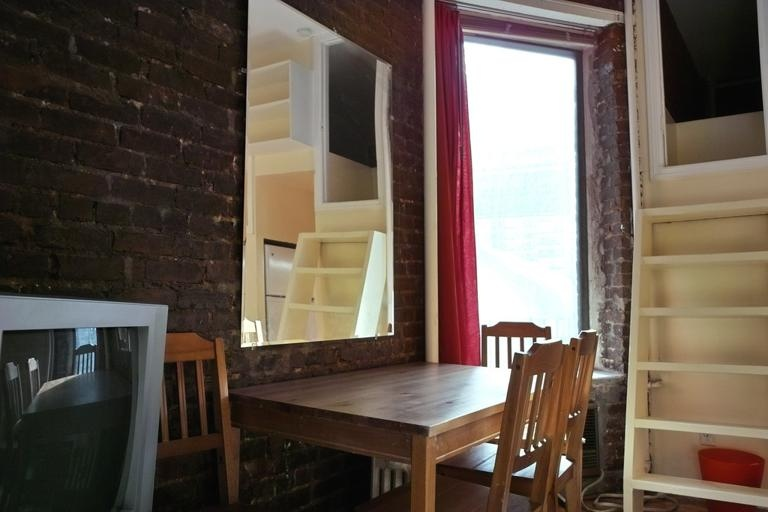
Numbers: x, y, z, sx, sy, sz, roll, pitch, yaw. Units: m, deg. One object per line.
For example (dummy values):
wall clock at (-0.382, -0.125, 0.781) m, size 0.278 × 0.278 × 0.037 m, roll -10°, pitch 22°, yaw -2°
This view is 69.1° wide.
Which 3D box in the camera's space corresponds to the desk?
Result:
desk at (0.077, 0.846, 2.779) m, size 1.074 × 0.454 × 1.302 m, roll -5°, pitch -6°, yaw 37°

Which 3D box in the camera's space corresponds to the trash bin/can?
trash bin/can at (2.151, 1.351, 3.430) m, size 0.353 × 0.346 × 0.392 m, roll -1°, pitch -5°, yaw 20°
